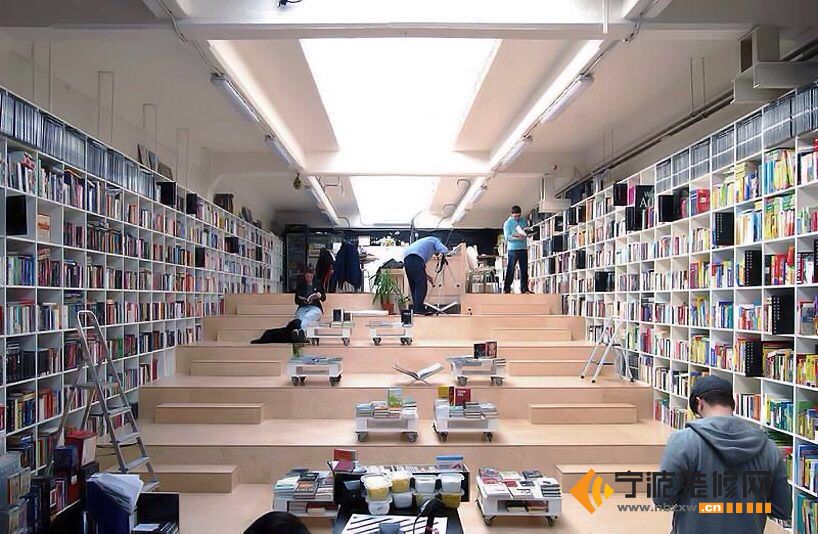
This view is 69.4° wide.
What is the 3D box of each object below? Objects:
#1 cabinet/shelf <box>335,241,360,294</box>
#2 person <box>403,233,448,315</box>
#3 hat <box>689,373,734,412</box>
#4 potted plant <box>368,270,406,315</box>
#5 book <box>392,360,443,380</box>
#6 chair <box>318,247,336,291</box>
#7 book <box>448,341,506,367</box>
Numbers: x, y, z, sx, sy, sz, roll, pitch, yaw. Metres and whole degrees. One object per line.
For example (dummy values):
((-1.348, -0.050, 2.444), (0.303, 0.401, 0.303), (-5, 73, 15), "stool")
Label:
((-1.286, -0.054, 12.375), (0.547, 1.044, 0.893), (2, -5, -8), "cabinet/shelf")
((0.245, 0.120, 10.225), (0.702, 1.335, 0.386), (2, -5, -14), "person")
((2.233, 0.915, 4.476), (0.255, 0.262, 0.337), (6, 4, 4), "hat")
((-0.488, 0.454, 11.796), (0.812, 1.063, 0.805), (-2, -3, -4), "potted plant")
((0.138, 1.370, 7.755), (0.588, 0.170, 0.315), (1, 2, -3), "book")
((-1.576, 0.034, 11.167), (0.285, 0.745, 0.544), (3, 7, -3), "chair")
((0.881, 1.136, 7.734), (0.475, 0.205, 0.398), (-2, 0, 0), "book")
